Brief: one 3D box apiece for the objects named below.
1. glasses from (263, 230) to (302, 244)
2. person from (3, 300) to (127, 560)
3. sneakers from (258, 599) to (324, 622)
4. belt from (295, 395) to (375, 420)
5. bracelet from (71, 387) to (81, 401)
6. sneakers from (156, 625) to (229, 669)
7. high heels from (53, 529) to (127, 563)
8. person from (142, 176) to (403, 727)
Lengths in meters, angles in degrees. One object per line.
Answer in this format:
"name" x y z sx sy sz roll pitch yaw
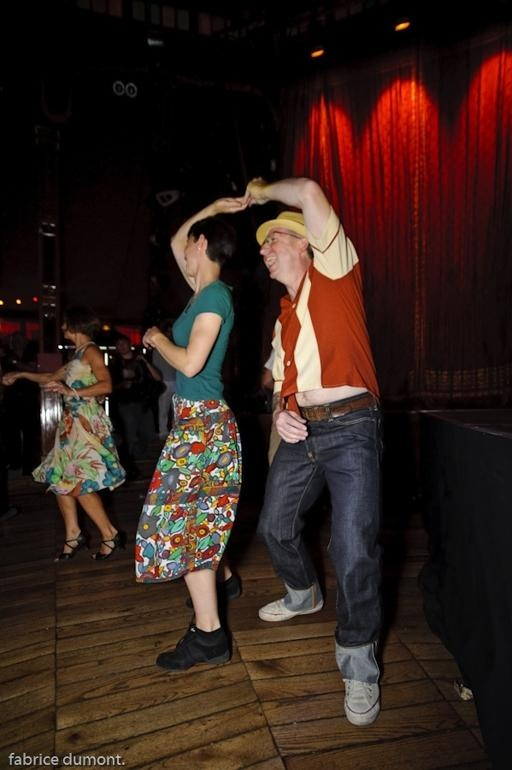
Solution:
"glasses" 0.093 -0.496 1.876 0.063 0.019 0.063 6 -9 -16
"person" -0.959 0.251 3.005 0.459 1.324 0.446 -1 3 -15
"sneakers" 0.140 0.891 2.258 0.256 0.104 0.095 0 -3 -8
"belt" 0.250 0.070 1.714 0.226 0.090 0.101 -1 2 5
"bracelet" -0.937 0.044 2.868 0.043 0.060 0.022 8 -16 -13
"sneakers" -0.191 0.868 1.903 0.302 0.149 0.107 -2 -4 -7
"high heels" -0.883 0.863 2.968 0.260 0.098 0.164 1 5 -9
"person" 0.198 0.149 1.837 0.423 1.593 0.653 -2 3 -29
